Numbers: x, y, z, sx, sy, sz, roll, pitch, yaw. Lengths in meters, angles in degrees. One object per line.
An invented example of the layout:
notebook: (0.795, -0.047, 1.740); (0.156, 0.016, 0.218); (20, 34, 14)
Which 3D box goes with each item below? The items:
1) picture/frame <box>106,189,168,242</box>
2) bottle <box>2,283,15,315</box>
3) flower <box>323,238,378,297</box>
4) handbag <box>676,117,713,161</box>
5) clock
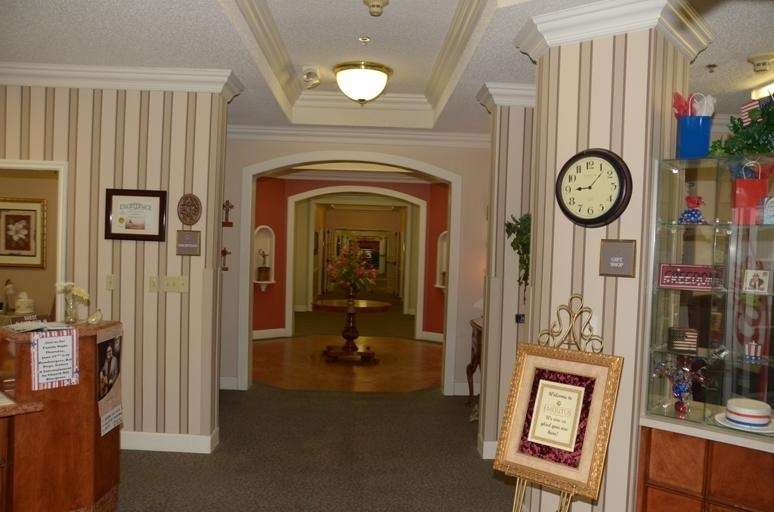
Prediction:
picture/frame: (-2.507, -0.407, 5.475); (0.514, 0.480, 0.035); (1, -1, -4)
bottle: (-4.497, 0.489, 6.548); (0.139, 0.365, 0.297); (-3, 8, -34)
flower: (-0.633, 0.183, 9.281); (0.994, 1.242, 0.993); (1, -7, -7)
handbag: (2.238, -0.861, 4.000); (0.233, 0.300, 0.161); (3, 7, 17)
clock: (1.559, -0.498, 4.096); (0.630, 0.697, 0.117); (-3, -3, 32)
